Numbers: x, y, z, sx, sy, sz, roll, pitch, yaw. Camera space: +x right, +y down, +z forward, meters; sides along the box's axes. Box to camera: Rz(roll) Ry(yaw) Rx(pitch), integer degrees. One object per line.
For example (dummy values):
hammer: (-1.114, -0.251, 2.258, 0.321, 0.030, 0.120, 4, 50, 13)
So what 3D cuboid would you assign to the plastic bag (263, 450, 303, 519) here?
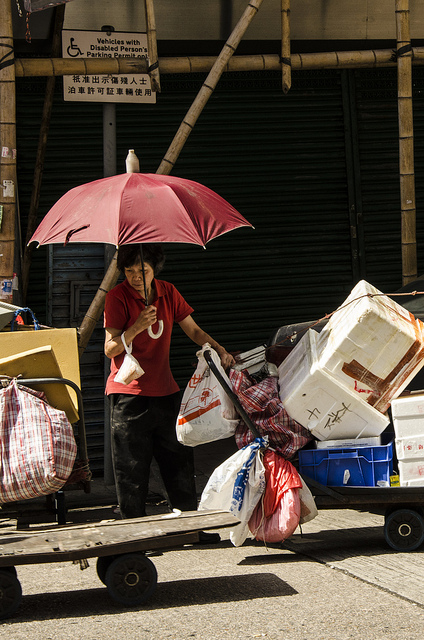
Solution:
plastic bag: (0.359, 0.829, 4.138, 0.242, 0.284, 0.115, -6, -24, 28)

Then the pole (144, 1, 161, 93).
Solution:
pole: (-0.451, -2.038, 5.987, 0.128, 0.619, 0.154, -1, 13, -13)

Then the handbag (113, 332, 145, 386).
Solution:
handbag: (-0.423, 0.199, 4.055, 0.129, 0.268, 0.171, -2, 0, -20)

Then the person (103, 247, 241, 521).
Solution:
person: (-0.278, 0.331, 4.282, 0.426, 1.418, 0.658, -2, 0, 36)

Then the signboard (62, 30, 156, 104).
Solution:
signboard: (-0.833, -2.072, 6.576, 0.789, 0.587, 0.058, 5, 21, 8)

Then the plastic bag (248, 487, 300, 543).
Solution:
plastic bag: (0.319, 1.001, 4.117, 0.271, 0.279, 0.159, -2, 0, 5)

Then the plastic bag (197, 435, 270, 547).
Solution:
plastic bag: (0.132, 0.849, 4.168, 0.274, 0.569, 0.272, 0, 23, -41)

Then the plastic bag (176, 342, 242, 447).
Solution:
plastic bag: (-0.012, 0.384, 4.374, 0.375, 0.531, 0.386, 0, 9, 3)

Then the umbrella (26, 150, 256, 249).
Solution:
umbrella: (-0.434, -0.597, 4.346, 1.375, 0.509, 1.442, 3, 10, 29)

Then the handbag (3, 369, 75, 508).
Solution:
handbag: (-0.777, 0.509, 3.600, 0.302, 0.607, 0.276, -2, 0, -4)
